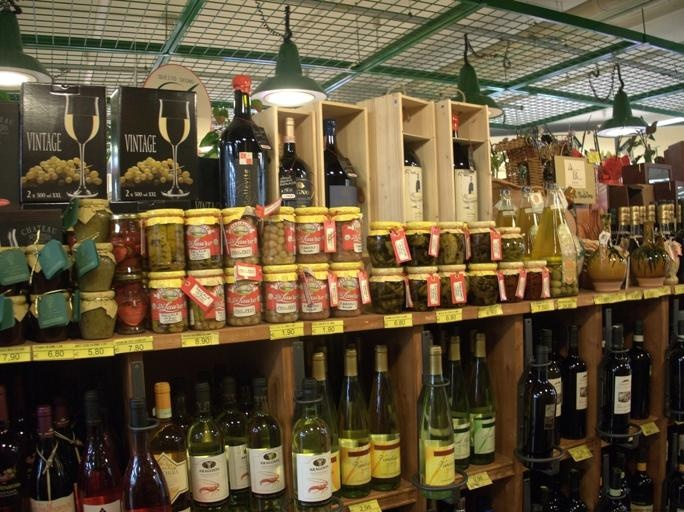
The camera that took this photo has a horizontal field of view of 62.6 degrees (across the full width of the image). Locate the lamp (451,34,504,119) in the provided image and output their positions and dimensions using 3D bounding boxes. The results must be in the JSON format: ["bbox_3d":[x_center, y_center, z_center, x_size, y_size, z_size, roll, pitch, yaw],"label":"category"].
[{"bbox_3d":[0.956,-1.425,4.307,0.401,0.629,0.376,-2,3,27],"label":"lamp"}]

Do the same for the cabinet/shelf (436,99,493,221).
[{"bbox_3d":[0.685,-0.506,3.215,0.282,0.708,0.182,-1,-4,-31],"label":"cabinet/shelf"}]
